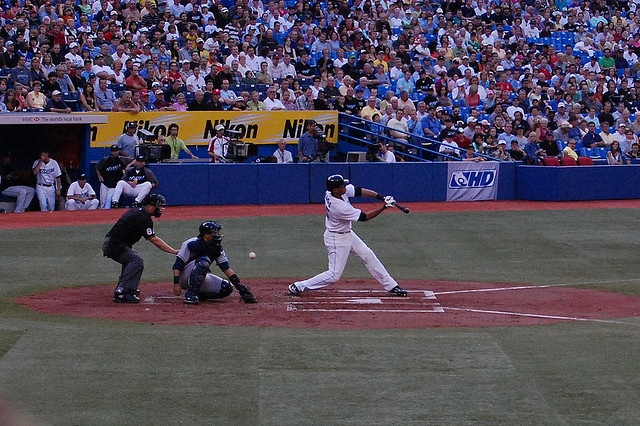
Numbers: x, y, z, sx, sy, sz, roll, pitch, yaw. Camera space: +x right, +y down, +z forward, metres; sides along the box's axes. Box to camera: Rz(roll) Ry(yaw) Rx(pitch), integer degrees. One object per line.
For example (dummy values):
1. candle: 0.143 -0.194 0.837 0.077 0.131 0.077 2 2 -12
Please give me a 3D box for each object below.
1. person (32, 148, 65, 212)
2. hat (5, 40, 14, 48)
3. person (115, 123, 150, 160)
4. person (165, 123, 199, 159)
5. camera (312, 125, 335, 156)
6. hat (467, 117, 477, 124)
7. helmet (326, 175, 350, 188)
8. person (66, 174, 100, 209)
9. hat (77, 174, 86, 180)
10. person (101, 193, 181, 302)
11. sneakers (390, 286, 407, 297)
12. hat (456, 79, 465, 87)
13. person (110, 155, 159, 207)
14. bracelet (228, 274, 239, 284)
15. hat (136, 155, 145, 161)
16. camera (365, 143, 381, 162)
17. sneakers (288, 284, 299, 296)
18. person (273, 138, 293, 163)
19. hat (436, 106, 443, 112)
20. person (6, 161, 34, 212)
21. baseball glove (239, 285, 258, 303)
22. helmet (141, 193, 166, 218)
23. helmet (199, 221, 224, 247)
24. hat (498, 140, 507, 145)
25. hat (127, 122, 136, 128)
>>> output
1. person: -7.716 -0.911 26.757 0.789 1.718 0.480 -6 12 -31
2. hat: -9.044 -4.914 27.383 0.268 0.120 0.177 -18 2 22
3. person: -5.482 -2.077 27.138 0.678 1.041 0.861 28 26 36
4. person: -4.172 -2.210 28.346 0.981 1.350 0.493 -16 26 -39
5. camera: 0.071 -2.305 29.523 0.629 0.487 0.947 -16 49 -15
6. hat: 4.989 -3.072 31.064 0.258 0.105 0.178 -5 12 6
7. helmet: 0.374 -0.581 17.983 0.421 0.169 0.268 -8 15 -22
8. person: -6.777 -0.497 26.871 1.021 1.142 0.883 -4 15 -29
9. hat: -6.716 -1.017 26.689 0.243 0.093 0.320 -4 5 -23
10. person: -3.449 0.670 17.578 1.122 1.975 0.556 -2 10 -10
11. sneakers: 1.513 1.515 18.227 0.438 0.242 0.138 -4 13 5
12. hat: 4.818 -4.499 32.497 0.257 0.118 0.194 -4 24 30
13. person: -5.135 -0.880 25.975 1.373 1.379 1.083 2 12 -37
14. bracelet: -1.591 1.233 17.597 0.191 0.174 0.188 -1 3 -33
15. hat: -4.947 -1.519 26.106 0.236 0.141 0.356 11 7 17
16. camera: 1.655 -1.878 29.537 0.291 0.355 0.631 -16 -18 -12
17. sneakers: -0.511 1.478 18.060 0.259 0.104 0.182 29 -11 -20
18. person: -1.168 -1.949 29.341 0.596 0.731 0.794 2 9 11
19. hat: 3.928 -3.442 31.296 0.264 0.121 0.375 1 7 1
20. person: -8.597 -0.816 26.674 0.875 1.531 0.640 7 12 35
21. baseball glove: -1.374 1.514 17.700 0.265 0.394 0.190 -37 19 10
22. helmet: -3.091 -0.190 17.763 0.510 0.416 0.377 -21 24 -17
23. helmet: -2.038 0.352 17.533 0.547 0.440 0.406 -8 12 -7
24. hat: 5.858 -2.292 30.525 0.244 0.144 0.218 1 9 6
25. hat: -5.367 -2.515 26.945 0.242 0.115 0.185 2 9 45
